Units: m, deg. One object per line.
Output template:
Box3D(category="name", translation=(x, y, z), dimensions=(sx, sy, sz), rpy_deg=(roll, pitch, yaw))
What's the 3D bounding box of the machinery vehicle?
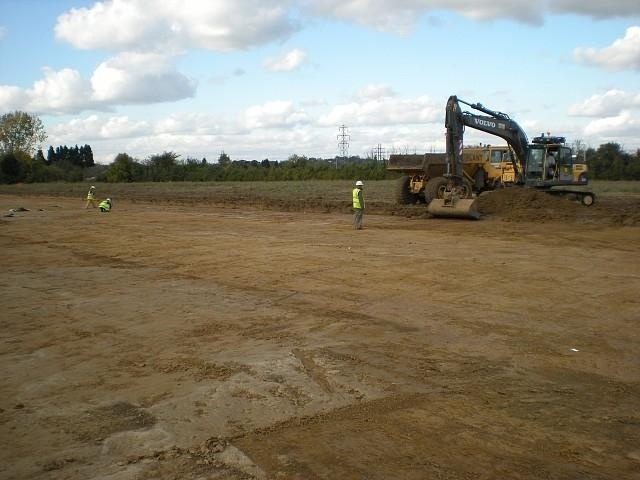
Box3D(category="machinery vehicle", translation=(9.182, -4.177, 23.076), dimensions=(8.721, 5.611, 4.468), rpy_deg=(-8, 15, -38))
